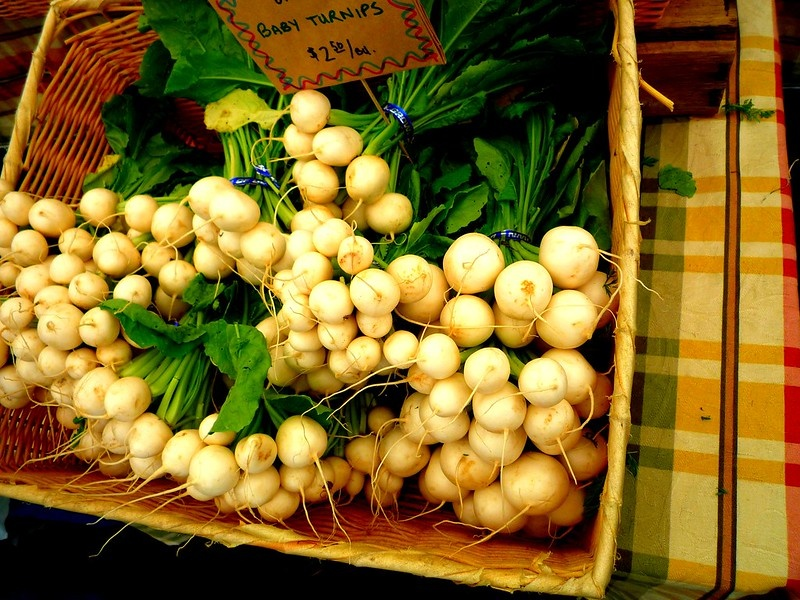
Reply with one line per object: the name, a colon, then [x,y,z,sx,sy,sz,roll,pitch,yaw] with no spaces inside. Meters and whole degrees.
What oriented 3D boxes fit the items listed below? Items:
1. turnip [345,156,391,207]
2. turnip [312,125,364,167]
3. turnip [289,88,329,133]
turnip: [-0.093,-0.342,1.874,0.151,0.136,0.140,-3,103,10]
turnip: [-0.174,-0.427,1.847,0.123,0.073,0.100,-18,100,-12]
turnip: [-0.258,-0.529,1.856,0.084,0.117,0.089,46,117,29]
